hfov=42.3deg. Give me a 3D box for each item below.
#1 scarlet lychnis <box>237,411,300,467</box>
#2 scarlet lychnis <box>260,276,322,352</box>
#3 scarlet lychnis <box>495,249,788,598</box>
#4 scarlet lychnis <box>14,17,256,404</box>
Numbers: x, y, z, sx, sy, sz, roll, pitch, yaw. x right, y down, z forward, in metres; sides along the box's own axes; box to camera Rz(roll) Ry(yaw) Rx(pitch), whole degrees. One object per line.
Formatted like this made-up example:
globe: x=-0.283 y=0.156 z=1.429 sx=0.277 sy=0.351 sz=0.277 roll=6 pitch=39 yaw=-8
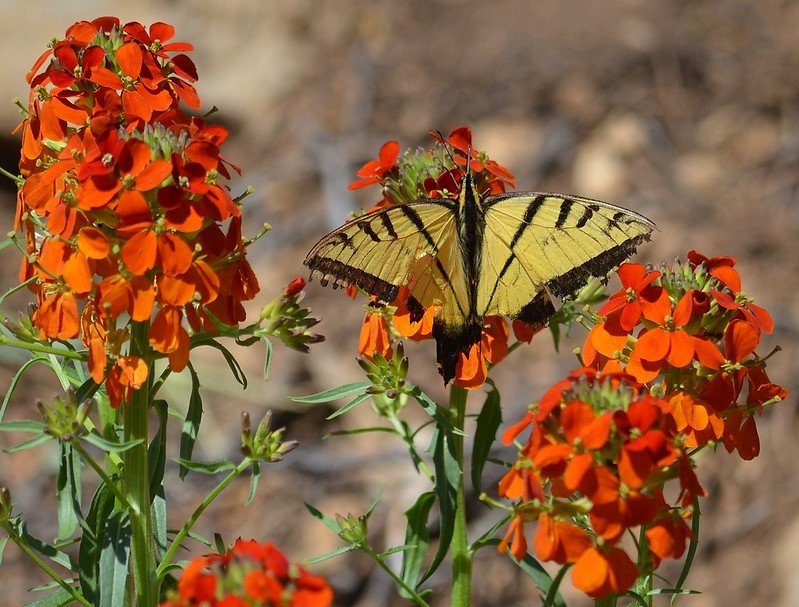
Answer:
scarlet lychnis: x=-0.428 y=0.423 z=3.383 sx=0.171 sy=0.175 sz=0.246 roll=-4 pitch=6 yaw=-6
scarlet lychnis: x=-0.352 y=0.036 z=3.335 sx=0.213 sy=0.237 sz=0.124 roll=24 pitch=-46 yaw=-27
scarlet lychnis: x=0.815 y=0.303 z=3.263 sx=0.602 sy=1.305 sz=0.598 roll=14 pitch=-29 yaw=29
scarlet lychnis: x=-0.823 y=-0.303 z=3.190 sx=0.733 sy=1.190 sz=0.407 roll=-4 pitch=6 yaw=-7
